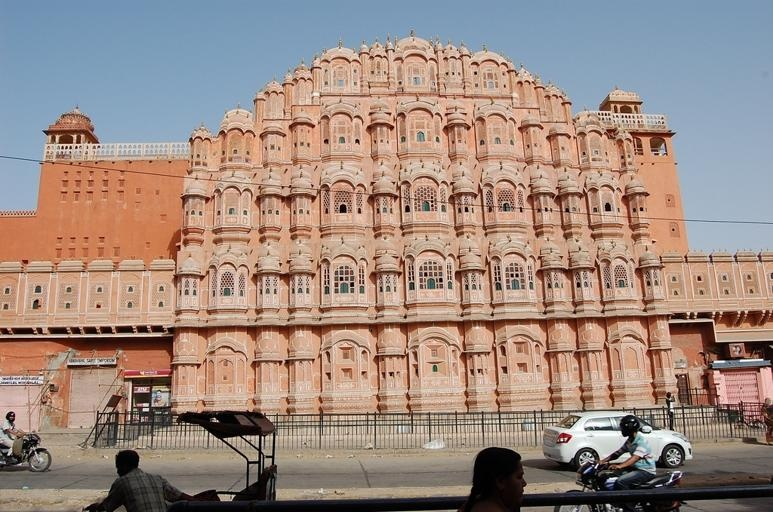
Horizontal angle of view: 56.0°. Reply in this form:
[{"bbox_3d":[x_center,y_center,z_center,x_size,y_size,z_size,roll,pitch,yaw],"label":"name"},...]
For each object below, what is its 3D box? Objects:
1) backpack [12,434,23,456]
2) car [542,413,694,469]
[{"bbox_3d":[-15.163,7.860,30.064,0.478,0.683,0.194,10,0,-11],"label":"backpack"},{"bbox_3d":[9.634,7.426,29.570,6.305,2.006,2.749,-2,-11,-5],"label":"car"}]
